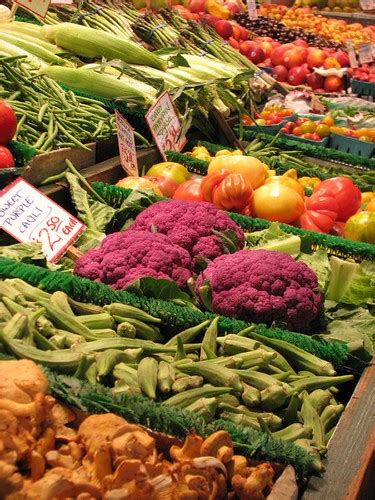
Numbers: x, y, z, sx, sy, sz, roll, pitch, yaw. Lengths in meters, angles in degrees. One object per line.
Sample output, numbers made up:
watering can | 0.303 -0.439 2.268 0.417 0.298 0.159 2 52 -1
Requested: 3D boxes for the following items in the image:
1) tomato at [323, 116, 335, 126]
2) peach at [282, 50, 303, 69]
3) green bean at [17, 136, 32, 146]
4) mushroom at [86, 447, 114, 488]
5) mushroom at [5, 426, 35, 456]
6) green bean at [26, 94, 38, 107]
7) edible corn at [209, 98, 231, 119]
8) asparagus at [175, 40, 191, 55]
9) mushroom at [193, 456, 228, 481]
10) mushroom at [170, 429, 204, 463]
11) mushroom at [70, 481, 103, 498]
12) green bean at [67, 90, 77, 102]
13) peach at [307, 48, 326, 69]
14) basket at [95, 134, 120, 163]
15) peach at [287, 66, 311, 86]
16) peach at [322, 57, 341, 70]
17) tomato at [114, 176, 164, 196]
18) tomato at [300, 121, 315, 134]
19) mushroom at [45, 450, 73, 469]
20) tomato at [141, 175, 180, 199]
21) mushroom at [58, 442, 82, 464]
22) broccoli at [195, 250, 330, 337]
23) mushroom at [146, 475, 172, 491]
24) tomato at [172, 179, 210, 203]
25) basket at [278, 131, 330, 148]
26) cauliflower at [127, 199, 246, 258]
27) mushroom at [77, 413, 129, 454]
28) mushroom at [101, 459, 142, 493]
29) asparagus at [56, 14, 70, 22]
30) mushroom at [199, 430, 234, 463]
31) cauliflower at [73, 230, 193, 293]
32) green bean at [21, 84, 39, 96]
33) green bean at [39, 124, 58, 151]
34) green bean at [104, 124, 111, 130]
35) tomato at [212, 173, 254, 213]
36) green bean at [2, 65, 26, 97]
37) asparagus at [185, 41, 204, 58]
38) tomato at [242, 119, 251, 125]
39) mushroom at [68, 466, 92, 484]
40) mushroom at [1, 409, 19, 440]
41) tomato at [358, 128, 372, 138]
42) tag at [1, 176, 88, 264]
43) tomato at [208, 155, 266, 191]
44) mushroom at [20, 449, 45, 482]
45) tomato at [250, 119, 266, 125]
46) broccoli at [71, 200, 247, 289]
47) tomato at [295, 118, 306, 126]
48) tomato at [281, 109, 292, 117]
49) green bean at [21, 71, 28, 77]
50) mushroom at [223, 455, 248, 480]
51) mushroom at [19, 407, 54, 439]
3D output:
tomato | 1.580 -1.434 4.346 0.112 0.083 0.133 18 27 26
peach | 1.592 -2.910 6.010 0.293 0.275 0.264 -20 32 -19
green bean | -0.967 -0.645 2.302 0.073 0.054 0.068 1 24 -8
mushroom | -0.152 0.375 0.676 0.049 0.063 0.016 6 3 4
mushroom | -0.290 0.330 0.670 0.013 0.035 0.035 -20 27 44
green bean | -1.018 -0.983 2.550 0.032 0.022 0.127 -32 72 -28
edible corn | 0.292 -1.317 3.670 0.117 0.203 0.079 -41 7 -36
asparagus | -0.022 -2.201 4.243 0.131 0.144 0.257 -12 29 -34
mushroom | 0.046 0.398 0.730 0.055 0.021 0.044 17 -2 28
mushroom | -0.002 0.379 0.760 0.052 0.061 0.058 19 28 29
mushroom | -0.175 0.414 0.667 0.050 0.039 0.020 -4 26 -20
green bean | -0.832 -1.095 2.794 0.037 0.027 0.133 -16 60 -28
peach | 2.049 -3.008 6.152 0.300 0.290 0.299 -4 25 -19
basket | -0.584 -0.701 2.747 0.224 0.195 0.061 -13 45 -40
peach | 1.687 -2.624 5.900 0.322 0.265 0.261 -25 75 -45
peach | 2.248 -2.851 5.982 0.284 0.182 0.344 0 24 -11
tomato | -0.303 -0.394 2.434 0.299 0.097 0.191 4 23 -3
tomato | 1.274 -1.289 4.169 0.147 0.134 0.134 -5 -7 1
mushroom | -0.237 0.384 0.719 0.049 0.025 0.021 6 24 3
tomato | -0.178 -0.447 2.568 0.182 0.171 0.182 -8 29 8
mushroom | -0.220 0.381 0.738 0.033 0.015 0.034 37 -8 39
broccoli | 0.348 0.187 1.678 0.548 0.321 0.510 6 9 40
mushroom | -0.047 0.386 0.654 0.042 0.018 0.017 -13 30 -35
tomato | 0.010 -0.353 2.379 0.228 0.185 0.181 -1 -2 -15
basket | 1.177 -1.132 3.996 0.322 0.091 0.328 13 -5 45
cauliflower | 0.008 -0.082 1.820 0.406 0.214 0.322 13 -3 -14
mushroom | -0.165 0.339 0.772 0.093 0.030 0.088 -12 18 -41
mushroom | -0.106 0.375 0.644 0.058 0.043 0.036 2 24 -6
asparagus | -1.327 -2.434 4.126 0.116 0.026 0.104 15 26 -20
mushroom | 0.061 0.382 0.762 0.064 0.060 0.033 1 20 -33
cauliflower | -0.241 0.010 1.625 0.351 0.173 0.299 2 7 20
green bean | -1.050 -1.060 2.580 0.135 0.031 0.034 35 25 -12
green bean | -0.839 -0.676 2.359 0.036 0.027 0.260 42 38 -11
green bean | -0.569 -0.872 2.753 0.046 0.022 0.045 1 49 -10
tomato | 0.231 -0.291 2.226 0.230 0.209 0.226 3 -13 -13
green bean | -1.113 -1.084 2.507 0.124 0.176 0.040 -2 26 -15
asparagus | 0.074 -2.231 4.358 0.354 0.038 0.052 38 2 14
tomato | 0.625 -1.340 4.103 0.080 0.071 0.079 1 -10 14
mushroom | -0.186 0.388 0.677 0.019 0.008 0.024 7 0 14
mushroom | -0.308 0.297 0.672 0.034 0.041 0.016 -6 9 -37
tomato | 1.892 -1.247 4.137 0.142 0.110 0.115 1 23 27
tag | -0.758 -0.118 1.978 0.337 0.453 0.123 -51 11 -28
tomato | 0.328 -0.503 2.545 0.366 0.240 0.353 -5 2 -21
mushroom | -0.268 0.372 0.683 0.041 0.049 0.014 -8 6 23
tomato | 0.761 -1.362 4.133 0.122 0.063 0.090 -6 20 4
broccoli | -0.104 -0.030 1.713 0.599 0.268 0.427 -11 7 -25
tomato | 1.231 -1.397 4.223 0.106 0.082 0.085 7 25 12
tomato | 1.145 -1.574 4.484 0.128 0.077 0.133 8 24 8
green bean | -1.121 -1.203 2.683 0.017 0.058 0.014 -21 5 -29
mushroom | 0.099 0.432 0.781 0.044 0.014 0.046 -2 32 -2
mushroom | -0.288 0.330 0.734 0.044 0.030 0.047 -2 -24 -5
